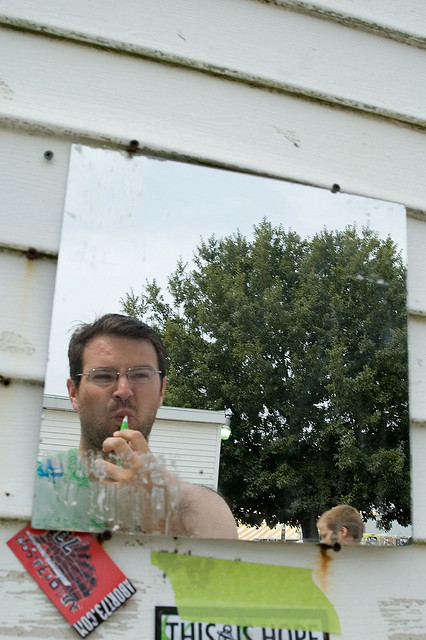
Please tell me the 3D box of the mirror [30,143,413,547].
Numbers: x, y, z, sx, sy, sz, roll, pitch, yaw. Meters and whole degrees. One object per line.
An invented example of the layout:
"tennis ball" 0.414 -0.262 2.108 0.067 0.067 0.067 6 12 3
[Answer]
"mirror" 0.028 0.069 1.664 0.989 0.786 0.017 4 -7 -36

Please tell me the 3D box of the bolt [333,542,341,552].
"bolt" 0.247 0.451 1.658 0.021 0.017 0.005 1 12 -10

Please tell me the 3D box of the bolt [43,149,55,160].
"bolt" -0.330 -0.332 1.663 0.025 0.020 0.008 1 -6 -14

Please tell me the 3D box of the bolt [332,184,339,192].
"bolt" 0.269 -0.291 1.821 0.012 0.016 0.017 1 -19 7

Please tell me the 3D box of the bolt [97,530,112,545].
"bolt" -0.203 0.408 1.557 0.027 0.022 0.010 3 -13 -5

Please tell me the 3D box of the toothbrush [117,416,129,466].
"toothbrush" -0.161 0.227 1.565 0.020 0.086 0.019 4 -11 19

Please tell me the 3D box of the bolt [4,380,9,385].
"bolt" -0.391 0.116 1.571 0.013 0.010 0.003 5 -2 -26

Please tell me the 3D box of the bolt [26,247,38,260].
"bolt" -0.353 -0.132 1.624 0.026 0.021 0.006 15 -7 -22

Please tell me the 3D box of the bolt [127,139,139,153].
"bolt" -0.164 -0.358 1.704 0.020 0.026 0.011 30 -23 -14
